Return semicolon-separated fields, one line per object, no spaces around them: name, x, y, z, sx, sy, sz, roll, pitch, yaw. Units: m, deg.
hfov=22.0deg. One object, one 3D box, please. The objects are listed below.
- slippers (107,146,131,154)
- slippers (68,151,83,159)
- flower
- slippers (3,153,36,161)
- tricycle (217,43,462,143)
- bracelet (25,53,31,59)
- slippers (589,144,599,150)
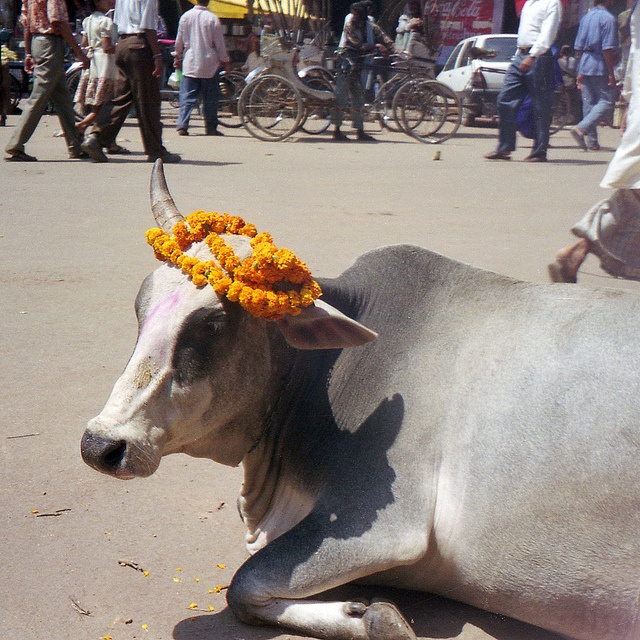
slippers;-1.706;-1.434;13.972;0.141;0.095;0.352;-1;4;-2
slippers;-1.966;-1.332;13.350;0.089;0.065;0.076;-6;12;-8
flower;-0.339;-0.231;6.639;0.612;0.222;0.410;22;54;15
slippers;-2.330;-1.284;12.850;0.233;0.100;0.086;-3;13;-19
tricycle;0.226;-2.204;15.860;2.012;1.164;0.888;-1;34;-4
bracelet;-2.266;-2.048;12.837;0.046;0.051;0.049;-3;16;-11
slippers;2.208;-1.381;13.264;0.059;0.026;0.086;0;17;12
